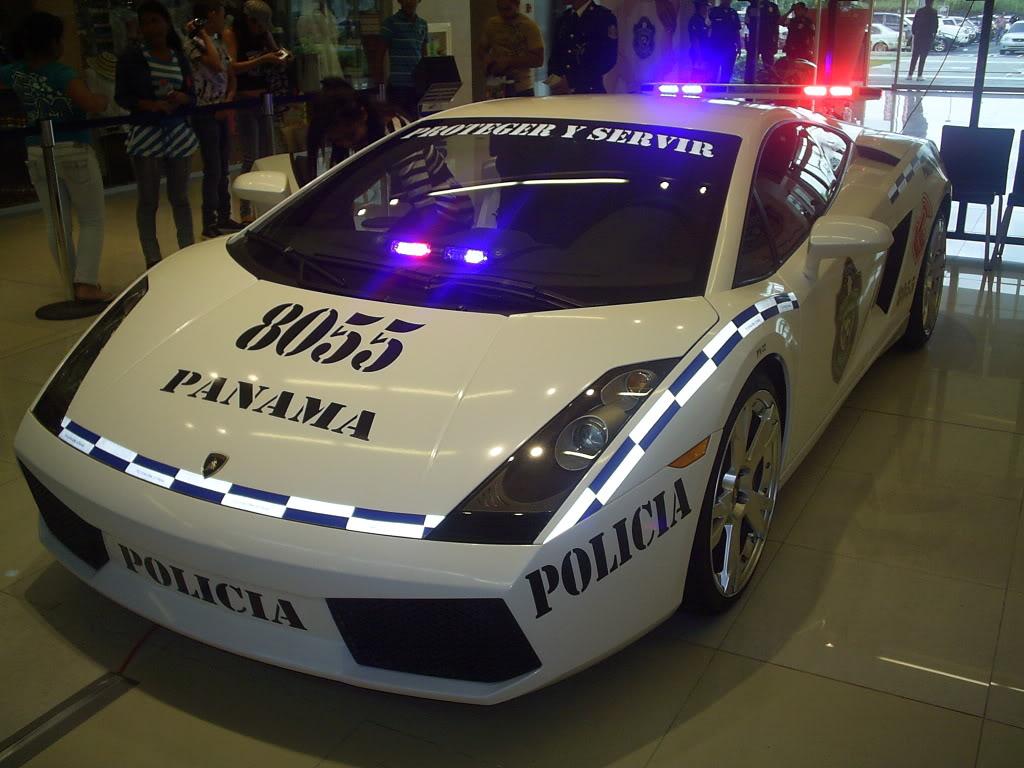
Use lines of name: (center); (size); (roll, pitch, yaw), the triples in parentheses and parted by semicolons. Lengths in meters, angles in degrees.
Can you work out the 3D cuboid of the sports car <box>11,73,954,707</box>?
sports car: (0.234, -0.228, 2.703); (1.777, 1.026, 3.121); (16, 36, 26)
